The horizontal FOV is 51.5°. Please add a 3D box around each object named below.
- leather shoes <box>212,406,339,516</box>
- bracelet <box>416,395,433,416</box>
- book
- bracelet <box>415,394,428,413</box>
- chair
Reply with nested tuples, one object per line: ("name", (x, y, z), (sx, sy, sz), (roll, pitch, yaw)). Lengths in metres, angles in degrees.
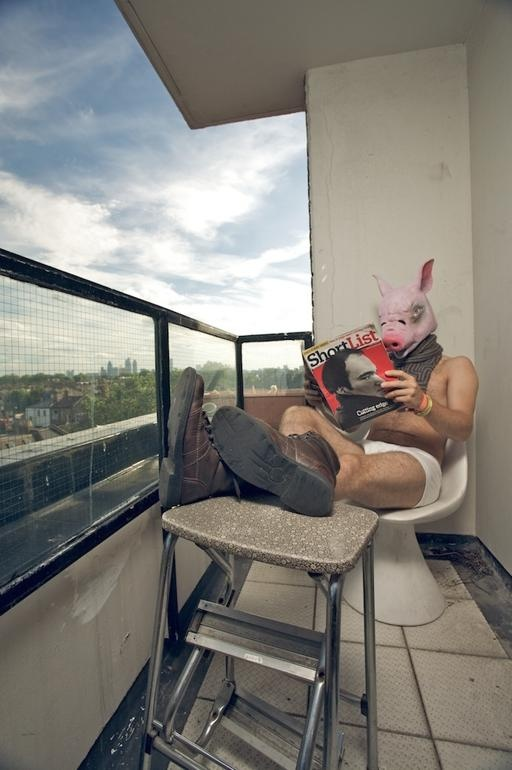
("leather shoes", (0.036, 0.159, 1.077), (0.217, 0.087, 0.164), (38, 25, 16))
("bracelet", (0.456, 0.054, 1.445), (0.028, 0.044, 0.039), (23, 35, 13))
("book", (0.284, -0.014, 1.502), (0.248, 0.283, 0.097), (-27, 11, 4))
("bracelet", (0.452, 0.050, 1.442), (0.024, 0.044, 0.041), (19, 52, 3))
("chair", (0.411, 0.431, 1.764), (0.454, 0.758, 0.458), (1, -3, -2))
